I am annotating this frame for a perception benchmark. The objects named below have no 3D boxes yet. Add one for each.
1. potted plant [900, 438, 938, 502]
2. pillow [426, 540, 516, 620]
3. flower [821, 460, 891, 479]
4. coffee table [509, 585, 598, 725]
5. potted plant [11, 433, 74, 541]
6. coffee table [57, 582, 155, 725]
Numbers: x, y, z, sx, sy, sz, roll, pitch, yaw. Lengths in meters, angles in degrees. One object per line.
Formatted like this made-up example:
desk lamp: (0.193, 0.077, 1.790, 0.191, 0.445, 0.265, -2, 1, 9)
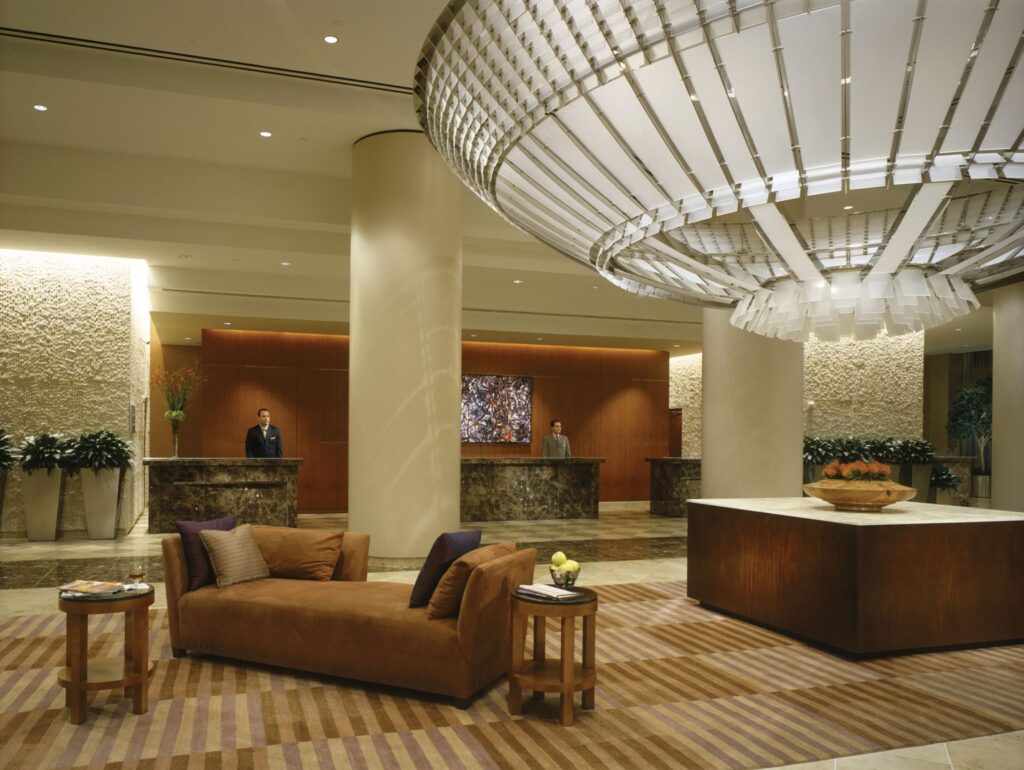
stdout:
potted plant: (7.964, 1.644, 13.969, 0.664, 1.280, 0.681, 0, -2, 17)
pillow: (-0.239, 1.150, 4.301, 0.436, 0.325, 0.639, -25, -11, 21)
flower: (2.783, 0.691, 5.757, 0.450, 0.147, 0.370, -1, -3, 18)
coffee table: (0.221, 1.513, 4.030, 0.564, 0.677, 0.527, 9, -10, -40)
potted plant: (-6.361, 1.393, 9.630, 0.562, 1.413, 0.301, 2, -3, -23)
coffee table: (-2.225, 1.475, 3.926, 0.529, 0.603, 0.549, -6, -9, 22)
